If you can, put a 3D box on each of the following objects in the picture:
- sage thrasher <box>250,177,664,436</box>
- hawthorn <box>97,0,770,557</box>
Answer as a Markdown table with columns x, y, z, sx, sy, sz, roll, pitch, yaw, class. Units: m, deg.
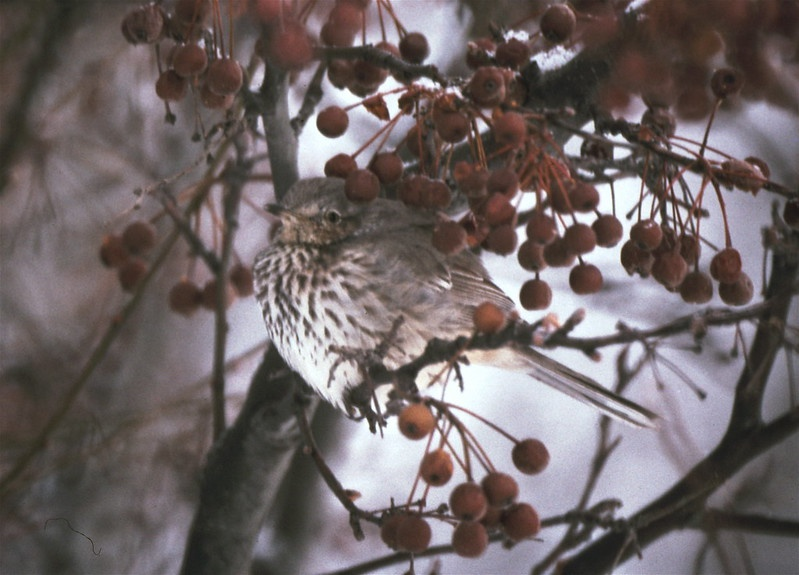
| x | y | z | sx | sy | sz | roll | pitch | yaw | class |
| --- | --- | --- | --- | --- | --- | --- | --- | --- | --- |
| 0.103 | 0.059 | 1.974 | 0.688 | 0.477 | 0.332 | 2 | -24 | -11 | sage thrasher |
| 0.052 | -0.036 | 1.786 | 1.077 | 1.055 | 0.431 | 3 | -8 | 11 | hawthorn |
